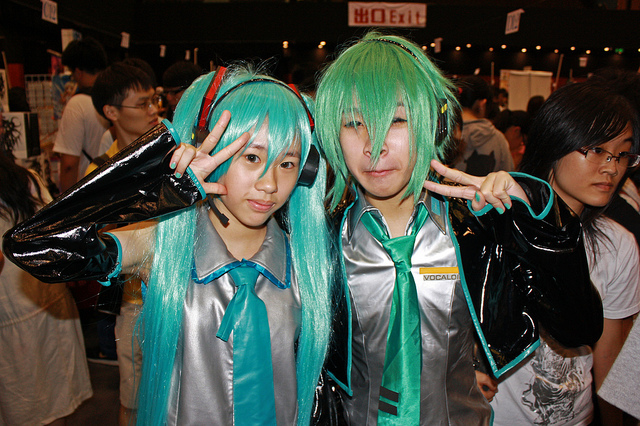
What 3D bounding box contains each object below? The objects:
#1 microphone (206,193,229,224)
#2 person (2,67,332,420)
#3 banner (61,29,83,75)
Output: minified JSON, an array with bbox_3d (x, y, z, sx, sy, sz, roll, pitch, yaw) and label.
[{"bbox_3d":[-0.515,-0.018,2.500,0.182,0.028,0.023,50,39,16],"label":"microphone"},{"bbox_3d":[-0.587,0.163,2.518,1.333,1.763,0.579,2,9,0],"label":"person"},{"bbox_3d":[-2.516,-1.641,4.996,0.179,0.493,0.533,-3,10,-27],"label":"banner"}]
